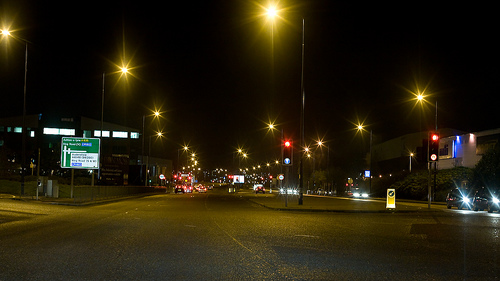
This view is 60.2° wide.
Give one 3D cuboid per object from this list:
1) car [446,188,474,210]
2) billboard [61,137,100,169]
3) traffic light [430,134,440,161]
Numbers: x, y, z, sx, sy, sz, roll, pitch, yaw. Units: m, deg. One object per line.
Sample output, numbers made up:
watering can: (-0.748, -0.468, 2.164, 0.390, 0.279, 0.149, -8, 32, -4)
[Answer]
car: (23.917, 6.639, 49.056, 2.718, 2.681, 2.741, -5, -14, 31)
billboard: (-20.078, 1.495, 50.950, 3.429, 3.173, 0.454, 1, -2, -6)
traffic light: (19.103, 0.719, 44.663, 0.843, 2.698, 0.783, 1, -10, 4)
